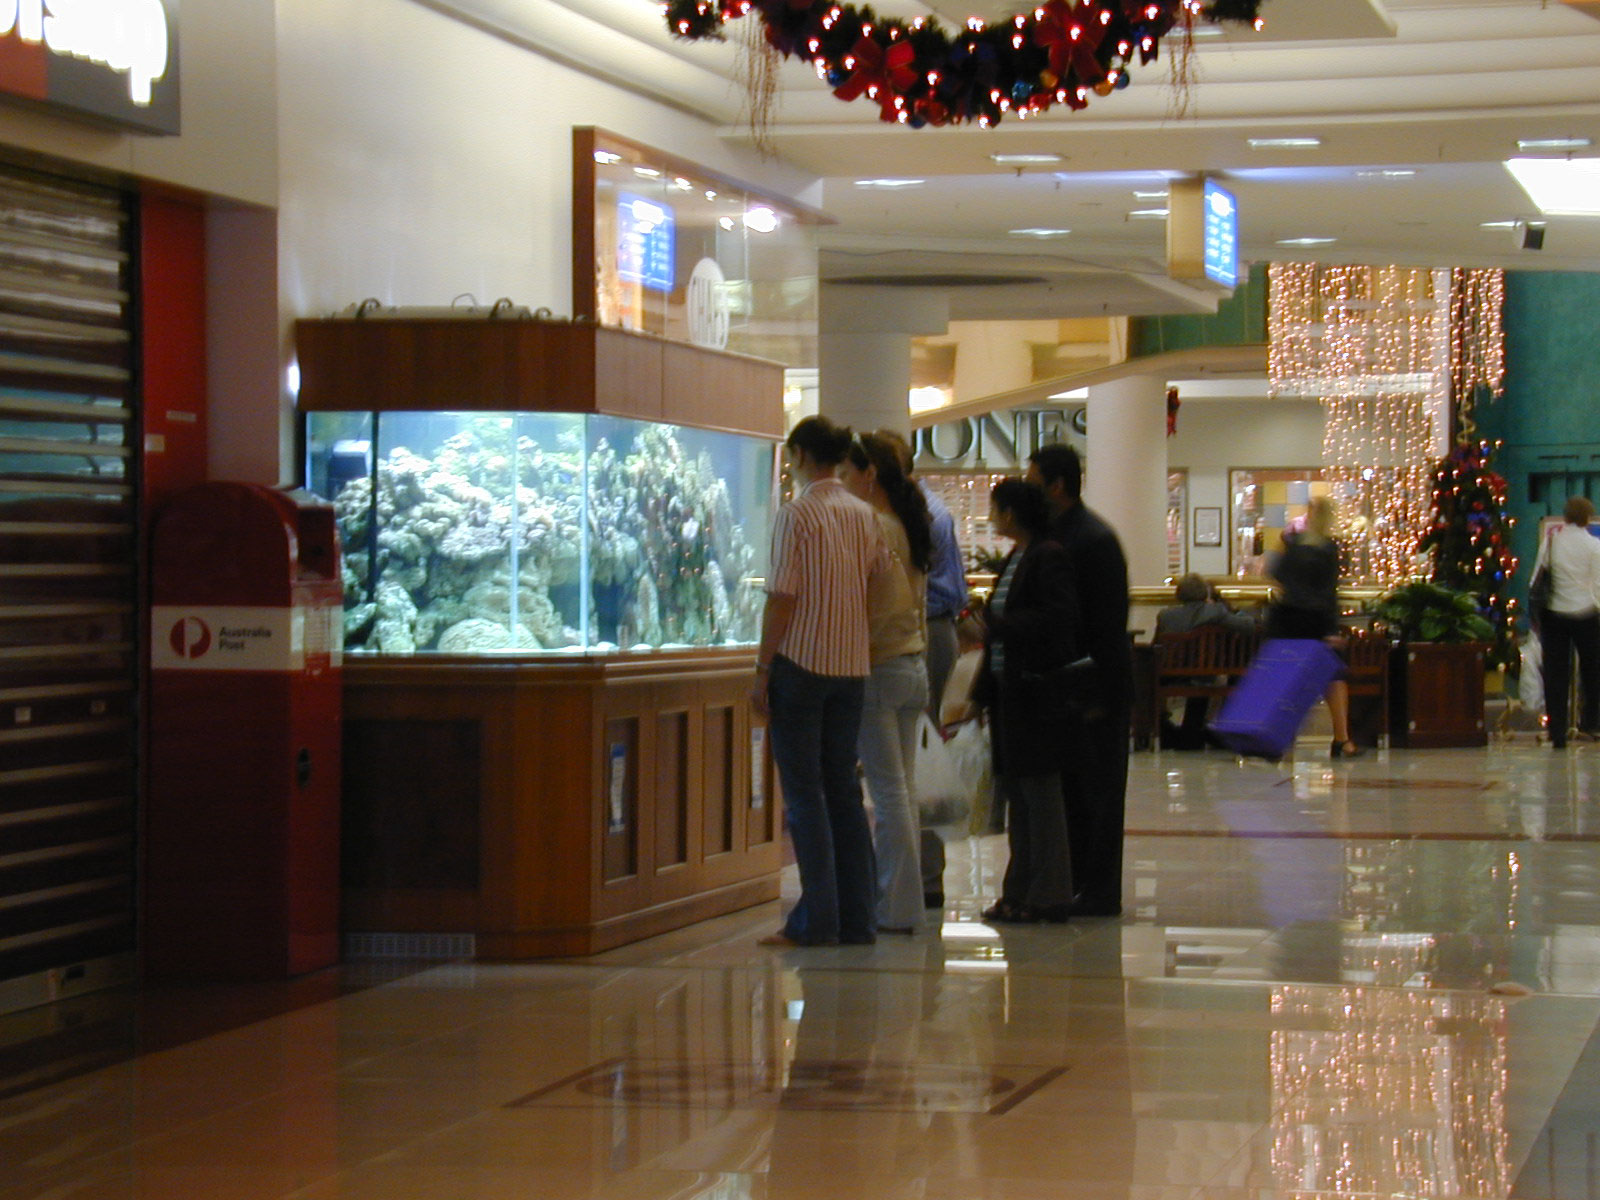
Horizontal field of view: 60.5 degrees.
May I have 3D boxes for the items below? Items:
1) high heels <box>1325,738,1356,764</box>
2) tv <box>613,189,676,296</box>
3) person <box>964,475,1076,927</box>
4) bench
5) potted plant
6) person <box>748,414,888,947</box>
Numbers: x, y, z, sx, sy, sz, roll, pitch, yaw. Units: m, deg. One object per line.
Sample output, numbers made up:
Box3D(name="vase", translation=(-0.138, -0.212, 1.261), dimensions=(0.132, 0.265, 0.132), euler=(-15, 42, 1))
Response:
Box3D(name="high heels", translation=(4.630, 1.274, 11.768), dimensions=(0.117, 0.149, 0.327), euler=(1, 3, 36))
Box3D(name="tv", translation=(-0.821, -1.851, 7.126), dimensions=(0.057, 0.544, 0.550), euler=(-7, -7, 37))
Box3D(name="person", translation=(0.957, 0.412, 5.840), dimensions=(0.465, 1.876, 0.414), euler=(-2, -3, 23))
Box3D(name="bench", translation=(4.179, 0.661, 12.328), dimensions=(1.972, 1.176, 0.671), euler=(-2, 9, 23))
Box3D(name="potted plant", translation=(5.722, 0.583, 13.010), dimensions=(1.406, 1.758, 1.267), euler=(0, -3, 0))
Box3D(name="person", translation=(0.076, 0.310, 5.432), dimensions=(0.538, 2.101, 0.380), euler=(0, -3, -24))
